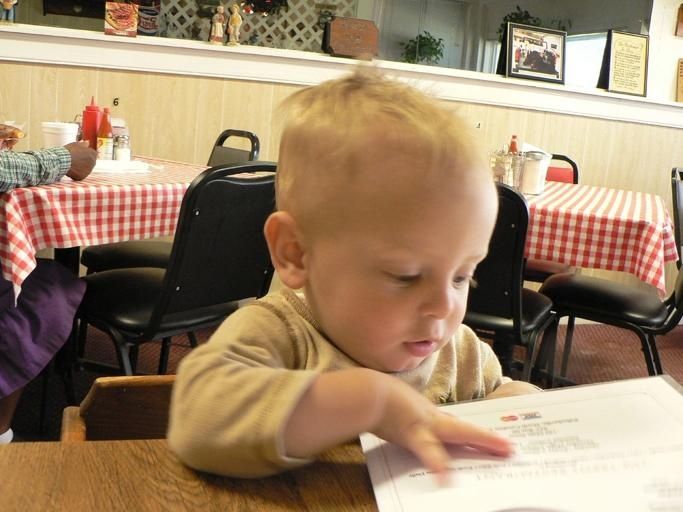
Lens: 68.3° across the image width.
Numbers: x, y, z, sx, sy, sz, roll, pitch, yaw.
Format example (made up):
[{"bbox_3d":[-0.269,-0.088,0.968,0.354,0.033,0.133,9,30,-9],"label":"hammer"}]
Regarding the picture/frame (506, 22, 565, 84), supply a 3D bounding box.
[{"bbox_3d":[1.245,-1.301,3.265,0.417,0.360,0.033,1,9,-19],"label":"picture/frame"}]
